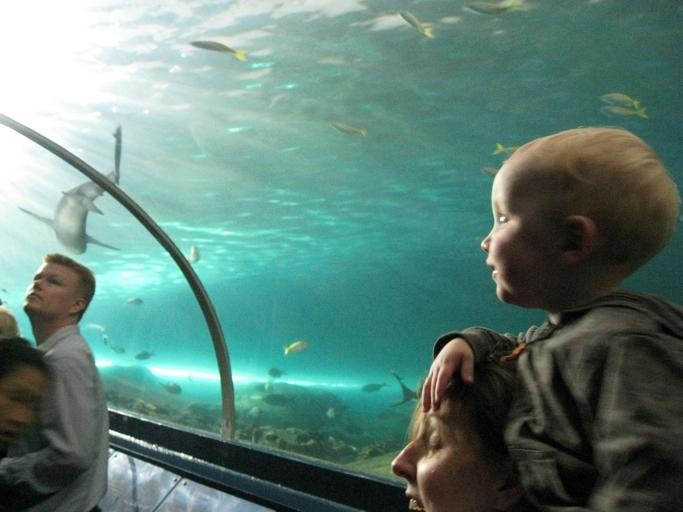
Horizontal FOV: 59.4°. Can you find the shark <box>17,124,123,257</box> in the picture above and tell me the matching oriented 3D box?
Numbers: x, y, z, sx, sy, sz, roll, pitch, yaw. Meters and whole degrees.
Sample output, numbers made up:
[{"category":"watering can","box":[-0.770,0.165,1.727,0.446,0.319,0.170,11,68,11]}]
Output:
[{"category":"shark","box":[-2.699,-0.363,5.795,0.725,0.741,0.424,2,-8,-21]}]

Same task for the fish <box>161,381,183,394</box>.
[{"category":"fish","box":[-5.891,4.512,20.580,0.626,0.423,0.923,1,-6,-15]}]
